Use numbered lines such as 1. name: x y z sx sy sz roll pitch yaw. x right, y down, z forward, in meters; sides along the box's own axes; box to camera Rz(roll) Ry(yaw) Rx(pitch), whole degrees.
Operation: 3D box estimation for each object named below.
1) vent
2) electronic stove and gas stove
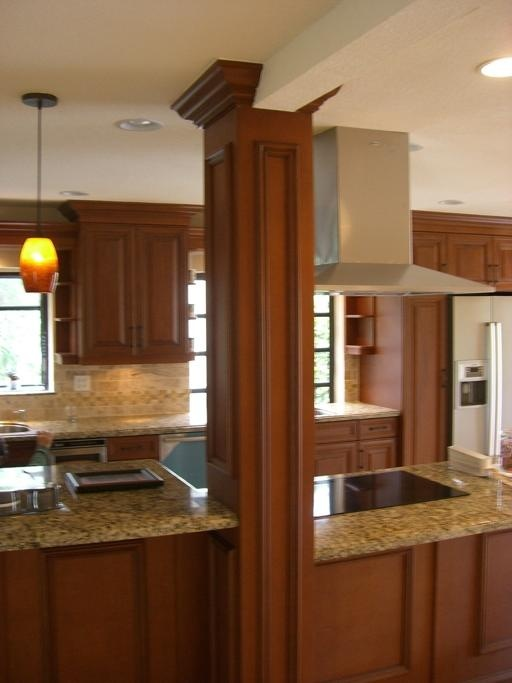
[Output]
1. vent: 0.449 -0.453 2.807 0.919 0.708 0.677 -1 0 -23
2. electronic stove and gas stove: 0.455 0.634 2.781 0.729 0.074 0.643 3 -2 -18
